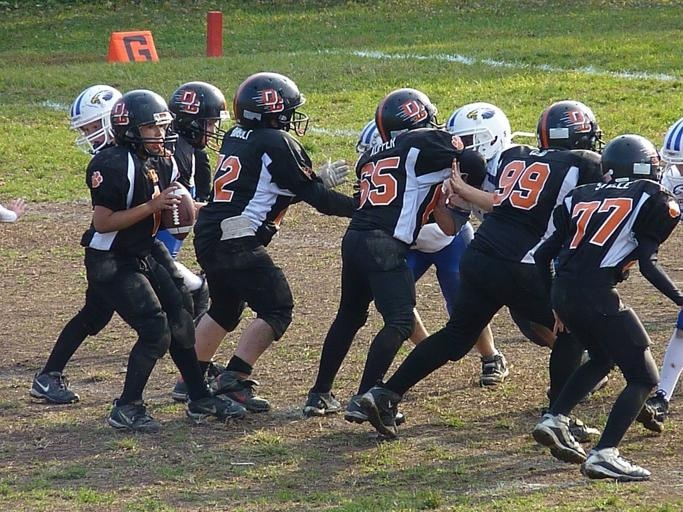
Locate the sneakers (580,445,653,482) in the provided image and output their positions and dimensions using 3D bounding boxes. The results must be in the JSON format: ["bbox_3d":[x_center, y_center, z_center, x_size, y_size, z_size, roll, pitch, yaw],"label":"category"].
[{"bbox_3d":[2.039,1.546,8.896,0.540,0.217,0.164,13,1,-6],"label":"sneakers"}]

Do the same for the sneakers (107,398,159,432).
[{"bbox_3d":[-1.693,1.310,9.815,0.565,0.257,0.218,12,13,42],"label":"sneakers"}]

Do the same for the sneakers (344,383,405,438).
[{"bbox_3d":[0.230,1.219,9.533,0.659,0.273,0.244,34,-21,-31],"label":"sneakers"}]

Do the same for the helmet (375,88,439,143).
[{"bbox_3d":[0.520,-1.198,10.063,0.448,0.419,0.587,9,23,44],"label":"helmet"}]

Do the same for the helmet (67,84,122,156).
[{"bbox_3d":[-2.144,-1.211,10.550,0.553,0.460,0.420,-19,11,-35],"label":"helmet"}]

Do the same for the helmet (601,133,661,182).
[{"bbox_3d":[2.201,-0.728,9.273,0.579,0.366,0.394,1,11,-25],"label":"helmet"}]

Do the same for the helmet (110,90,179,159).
[{"bbox_3d":[-1.675,-1.087,9.852,0.556,0.434,0.403,4,16,15],"label":"helmet"}]

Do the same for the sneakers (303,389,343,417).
[{"bbox_3d":[-0.174,1.252,10.077,0.168,0.139,0.342,2,1,37],"label":"sneakers"}]

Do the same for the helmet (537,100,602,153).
[{"bbox_3d":[1.855,-1.042,9.885,0.607,0.409,0.408,-3,12,-32],"label":"helmet"}]

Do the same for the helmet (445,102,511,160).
[{"bbox_3d":[1.192,-1.088,10.463,0.630,0.399,0.428,-9,11,-1],"label":"helmet"}]

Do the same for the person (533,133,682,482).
[{"bbox_3d":[1.960,0.371,9.062,1.078,2.354,1.494,6,24,5],"label":"person"}]

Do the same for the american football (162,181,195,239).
[{"bbox_3d":[-1.340,-0.359,9.940,0.310,0.398,0.284,0,11,32],"label":"american football"}]

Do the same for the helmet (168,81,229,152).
[{"bbox_3d":[-1.327,-1.277,10.998,0.691,0.532,0.482,7,12,-10],"label":"helmet"}]

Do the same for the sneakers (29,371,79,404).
[{"bbox_3d":[-2.440,1.117,10.214,0.478,0.228,0.215,11,16,26],"label":"sneakers"}]
